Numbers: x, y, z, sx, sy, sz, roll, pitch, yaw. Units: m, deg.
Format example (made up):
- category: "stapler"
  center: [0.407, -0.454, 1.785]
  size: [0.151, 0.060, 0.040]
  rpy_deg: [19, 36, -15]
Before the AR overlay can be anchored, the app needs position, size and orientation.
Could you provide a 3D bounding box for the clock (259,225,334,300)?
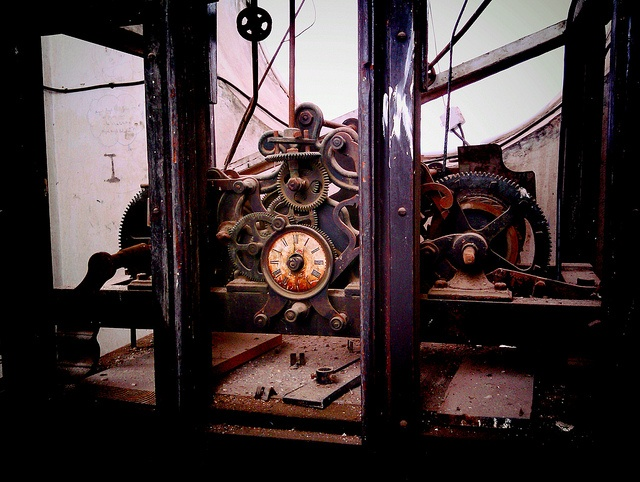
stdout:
- category: "clock"
  center: [-0.135, 0.139, 3.736]
  size: [0.395, 0.469, 0.114]
  rpy_deg: [3, -2, 12]
